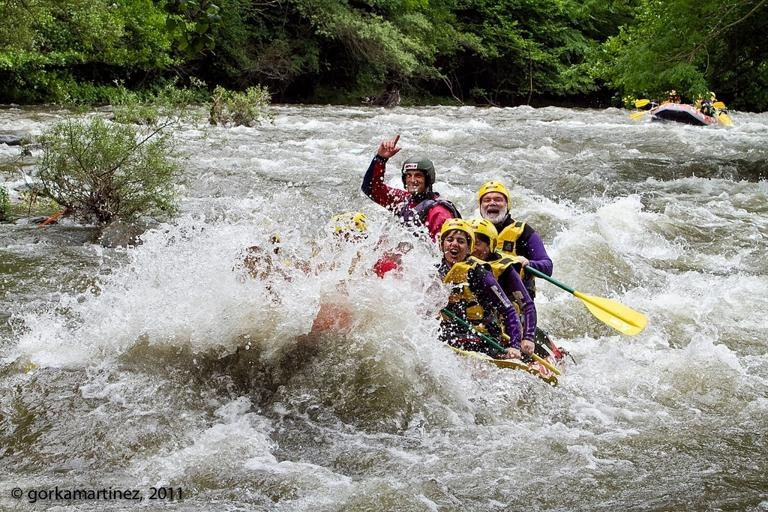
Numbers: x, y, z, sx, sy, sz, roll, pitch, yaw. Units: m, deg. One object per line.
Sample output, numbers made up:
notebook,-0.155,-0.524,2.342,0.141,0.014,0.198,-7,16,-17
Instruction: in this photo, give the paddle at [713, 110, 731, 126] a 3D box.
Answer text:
paddle,10.017,-3.965,23.431,0.251,0.282,0.845,-4,37,15

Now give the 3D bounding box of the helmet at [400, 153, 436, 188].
helmet,0.494,-1.096,10.322,0.488,0.456,0.407,-11,15,-43

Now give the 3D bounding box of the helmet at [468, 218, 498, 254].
helmet,1.182,-0.273,9.327,0.305,0.399,0.370,2,23,33

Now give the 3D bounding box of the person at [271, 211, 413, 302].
person,-0.329,-0.006,9.408,1.035,0.949,0.402,11,0,15

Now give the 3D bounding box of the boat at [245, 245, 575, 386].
boat,0.217,0.684,9.047,2.971,0.691,1.727,21,37,-10

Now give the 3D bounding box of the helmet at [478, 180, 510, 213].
helmet,1.428,-0.791,10.320,0.324,0.438,0.377,-1,4,13

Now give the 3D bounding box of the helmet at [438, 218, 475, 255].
helmet,0.827,-0.237,9.061,0.321,0.426,0.383,3,7,10

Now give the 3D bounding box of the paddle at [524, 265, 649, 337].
paddle,2.468,0.481,10.399,0.094,0.501,1.968,-35,44,-24
